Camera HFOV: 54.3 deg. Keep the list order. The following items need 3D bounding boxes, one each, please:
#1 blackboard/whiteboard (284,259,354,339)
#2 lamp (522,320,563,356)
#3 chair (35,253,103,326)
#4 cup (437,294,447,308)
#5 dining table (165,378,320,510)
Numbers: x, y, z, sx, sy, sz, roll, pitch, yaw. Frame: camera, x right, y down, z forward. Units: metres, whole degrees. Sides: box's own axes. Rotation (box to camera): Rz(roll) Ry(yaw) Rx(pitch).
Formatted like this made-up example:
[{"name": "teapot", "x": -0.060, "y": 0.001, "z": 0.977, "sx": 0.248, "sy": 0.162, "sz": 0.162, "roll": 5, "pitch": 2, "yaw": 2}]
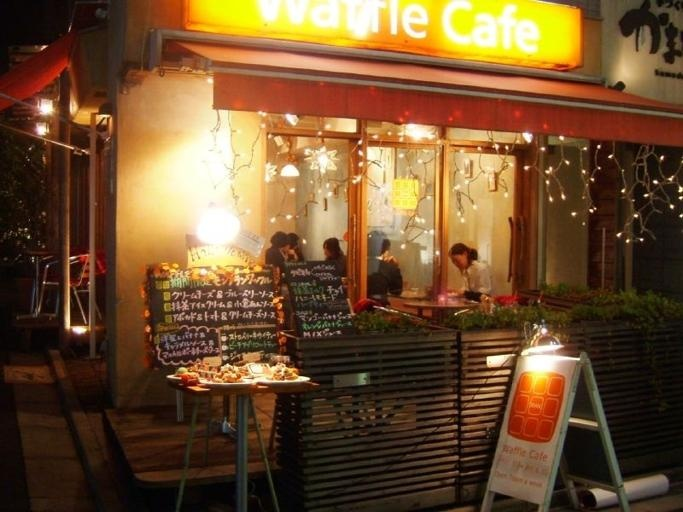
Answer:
[{"name": "blackboard/whiteboard", "x": -0.180, "y": 0.349, "z": 5.697, "sx": 0.510, "sy": 0.595, "sz": 0.446, "roll": -1, "pitch": 2, "yaw": -28}, {"name": "lamp", "x": 1.711, "y": 0.702, "z": 5.662, "sx": 0.322, "sy": 0.290, "sz": 0.489, "roll": 0, "pitch": 2, "yaw": 18}, {"name": "chair", "x": -4.714, "y": 0.579, "z": 11.496, "sx": 1.048, "sy": 1.560, "sz": 1.038, "roll": -3, "pitch": -7, "yaw": 42}, {"name": "cup", "x": 1.236, "y": 0.541, "z": 8.234, "sx": 0.113, "sy": 0.139, "sz": 0.123, "roll": 1, "pitch": -5, "yaw": 0}, {"name": "dining table", "x": -0.696, "y": 1.288, "z": 5.195, "sx": 1.023, "sy": 1.152, "sz": 1.092, "roll": -3, "pitch": -4, "yaw": 29}]
